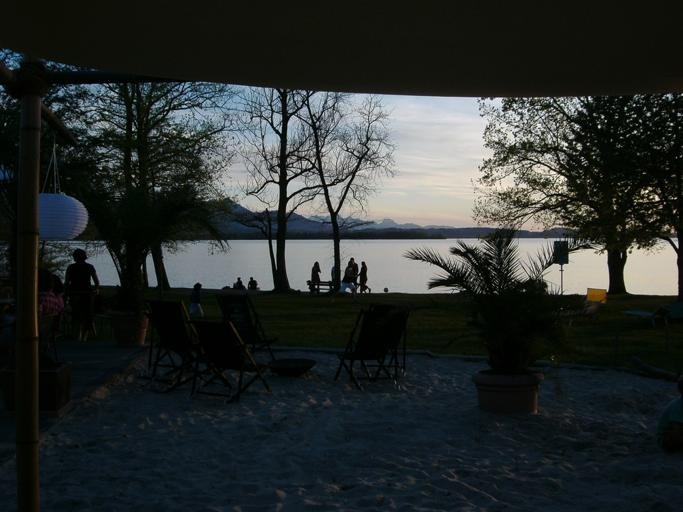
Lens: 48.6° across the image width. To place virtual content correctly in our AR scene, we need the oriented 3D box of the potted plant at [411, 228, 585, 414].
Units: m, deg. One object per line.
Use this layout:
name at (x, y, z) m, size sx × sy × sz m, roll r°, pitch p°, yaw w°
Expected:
potted plant at (2.089, 0.702, 10.246) m, size 1.618 × 2.822 × 1.640 m, roll 0°, pitch 5°, yaw -36°

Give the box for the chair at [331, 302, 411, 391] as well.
chair at (0.555, 1.292, 11.205) m, size 0.809 × 1.437 × 0.938 m, roll 6°, pitch 5°, yaw -20°

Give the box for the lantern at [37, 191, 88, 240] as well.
lantern at (-4.216, -0.584, 11.421) m, size 0.674 × 0.702 × 0.506 m, roll -3°, pitch 8°, yaw -24°
